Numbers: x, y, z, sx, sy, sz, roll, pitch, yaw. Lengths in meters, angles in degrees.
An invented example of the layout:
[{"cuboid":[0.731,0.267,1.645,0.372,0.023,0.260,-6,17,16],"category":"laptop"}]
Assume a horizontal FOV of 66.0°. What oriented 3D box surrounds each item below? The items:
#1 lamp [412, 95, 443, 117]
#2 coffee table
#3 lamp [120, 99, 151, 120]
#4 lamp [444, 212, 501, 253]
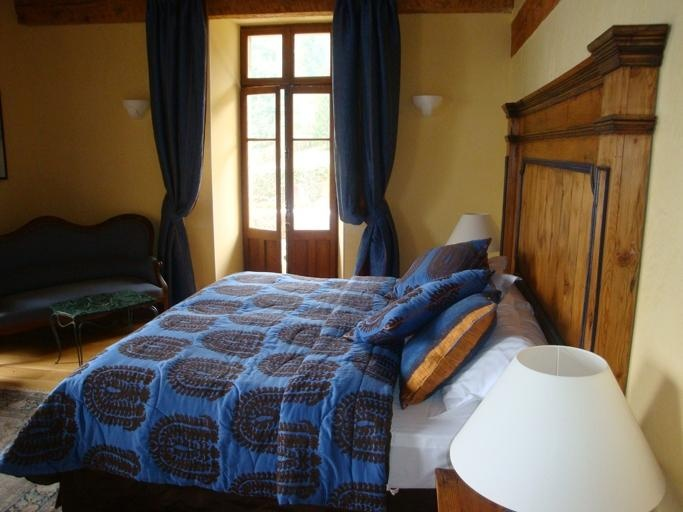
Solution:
[{"cuboid":[0.692,-1.221,4.233,0.162,0.123,0.175,0,6,2],"category":"lamp"},{"cuboid":[-1.774,0.577,3.859,0.352,0.372,0.567,2,6,34],"category":"coffee table"},{"cuboid":[-1.785,-1.286,4.598,0.219,0.166,0.133,-8,12,-11],"category":"lamp"},{"cuboid":[0.914,-0.178,3.615,0.276,0.217,0.293,-3,-1,-21],"category":"lamp"}]
